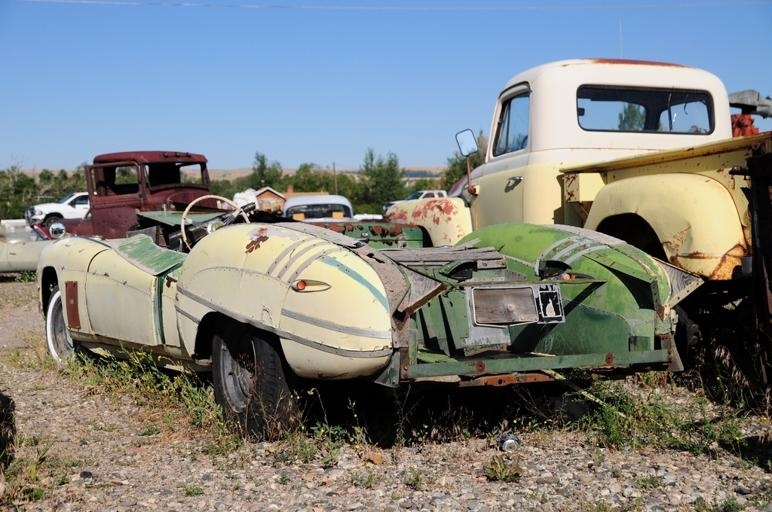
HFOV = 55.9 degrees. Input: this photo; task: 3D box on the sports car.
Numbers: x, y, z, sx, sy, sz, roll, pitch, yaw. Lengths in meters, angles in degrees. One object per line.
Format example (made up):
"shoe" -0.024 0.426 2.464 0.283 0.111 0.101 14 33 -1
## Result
"sports car" -0.476 0.448 6.423 5.682 1.628 2.068 4 15 20
